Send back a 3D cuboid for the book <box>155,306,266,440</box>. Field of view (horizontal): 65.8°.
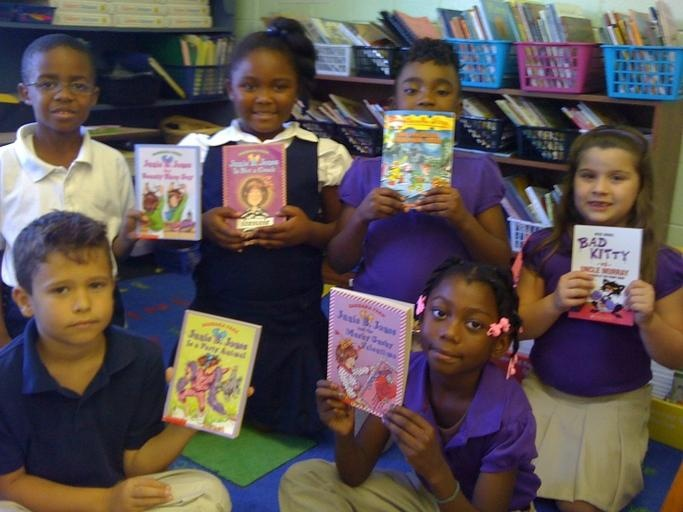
[{"bbox_3d":[-0.359,0.297,1.495,0.311,0.348,0.090,9,2,9],"label":"book"}]

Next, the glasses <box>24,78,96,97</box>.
[{"bbox_3d":[-1.052,-0.639,1.999,0.115,0.028,0.109,0,-6,-16],"label":"glasses"}]

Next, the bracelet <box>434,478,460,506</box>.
[{"bbox_3d":[0.296,0.641,1.443,0.071,0.021,0.066,-23,15,27],"label":"bracelet"}]

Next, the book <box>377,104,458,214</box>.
[{"bbox_3d":[0.273,-0.358,1.936,0.254,0.356,0.137,3,11,6],"label":"book"}]

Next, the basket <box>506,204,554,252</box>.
[{"bbox_3d":[1.061,-0.152,3.110,0.363,0.193,0.237,-4,17,-28],"label":"basket"}]
